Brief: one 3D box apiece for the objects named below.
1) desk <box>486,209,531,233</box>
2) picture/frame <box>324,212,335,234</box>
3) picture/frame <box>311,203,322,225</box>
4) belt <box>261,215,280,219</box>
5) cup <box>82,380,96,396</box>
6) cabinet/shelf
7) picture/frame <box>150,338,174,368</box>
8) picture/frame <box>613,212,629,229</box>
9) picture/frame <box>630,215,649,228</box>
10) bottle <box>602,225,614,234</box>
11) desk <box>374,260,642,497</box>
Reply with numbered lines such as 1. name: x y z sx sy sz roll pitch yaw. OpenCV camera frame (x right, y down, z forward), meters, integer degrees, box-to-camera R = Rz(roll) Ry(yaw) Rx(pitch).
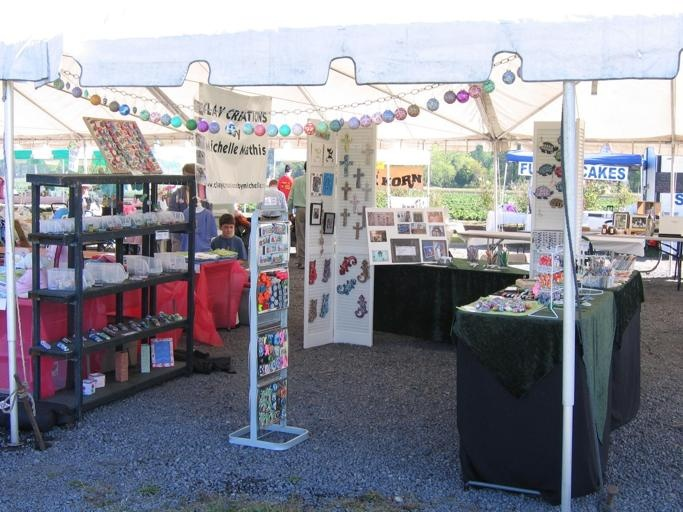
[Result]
1. desk: 4.021 -0.845 13.481 0.767 0.434 0.800 -3 13 -23
2. picture/frame: -0.145 -0.392 6.718 0.043 0.295 0.232 1 2 32
3. picture/frame: -0.296 -0.486 6.585 0.026 0.283 0.227 1 3 34
4. belt: -0.531 -0.288 4.303 0.022 0.038 0.186 8 11 43
5. cup: -2.137 1.113 4.830 0.107 0.105 0.098 2 -2 0
6. cabinet/shelf: -2.034 0.458 5.071 0.499 2.311 2.003 2 4 18
7. picture/frame: -1.747 0.946 5.535 0.250 0.366 0.036 0 -6 -30
8. picture/frame: 5.039 -0.622 10.275 0.251 0.388 0.036 3 -16 8
9. picture/frame: 5.338 -0.606 10.222 0.203 0.198 0.022 3 -17 9
10. bottle: 4.792 -0.456 10.256 0.176 0.179 0.188 1 0 6
11. desk: 1.015 0.882 4.122 1.742 0.864 1.844 3 7 25
